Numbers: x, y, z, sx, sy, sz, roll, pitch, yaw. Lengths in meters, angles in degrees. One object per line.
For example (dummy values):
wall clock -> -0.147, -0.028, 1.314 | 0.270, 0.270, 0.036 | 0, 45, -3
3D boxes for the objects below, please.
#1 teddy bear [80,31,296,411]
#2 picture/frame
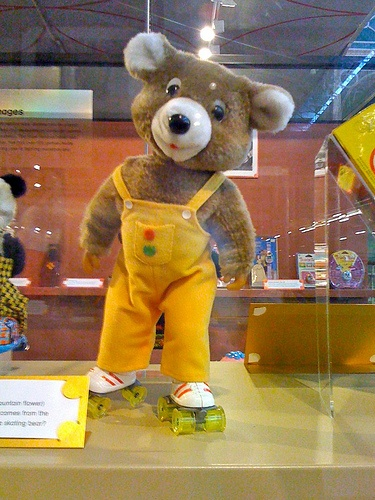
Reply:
teddy bear -> -0.034, -0.063, 0.807 | 0.391, 0.638, 0.216 | 5, 11, 14
picture/frame -> 0.109, -0.205, 0.927 | 0.104, 0.084, 0.023 | 0, 5, 11
